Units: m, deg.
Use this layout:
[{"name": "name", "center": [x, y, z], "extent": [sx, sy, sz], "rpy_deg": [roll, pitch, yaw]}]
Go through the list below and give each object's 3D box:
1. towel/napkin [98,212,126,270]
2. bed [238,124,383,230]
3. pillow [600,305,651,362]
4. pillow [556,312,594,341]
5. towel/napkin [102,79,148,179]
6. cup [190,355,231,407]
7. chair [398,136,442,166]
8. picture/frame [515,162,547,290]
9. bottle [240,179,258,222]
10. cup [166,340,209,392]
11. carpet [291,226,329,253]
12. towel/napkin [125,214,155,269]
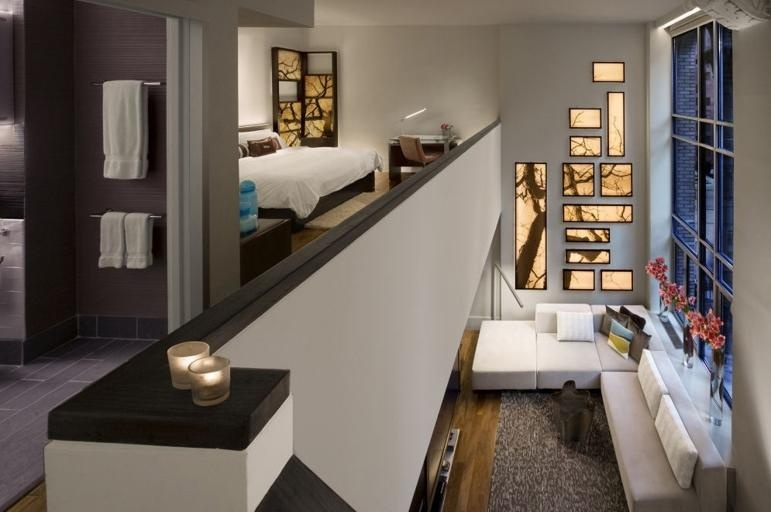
[{"name": "towel/napkin", "center": [-2.399, -0.142, 4.866], "extent": [0.201, 0.480, 0.256], "rpy_deg": [2, 6, -28]}, {"name": "bed", "center": [-1.052, -1.004, 7.256], "extent": [1.557, 0.997, 2.624], "rpy_deg": [5, 7, -2]}, {"name": "pillow", "center": [4.048, 1.349, 9.346], "extent": [0.147, 0.373, 0.672], "rpy_deg": [18, 13, -18]}, {"name": "pillow", "center": [3.346, 1.249, 9.721], "extent": [0.448, 0.442, 0.163], "rpy_deg": [0, -3, 4]}, {"name": "towel/napkin", "center": [-2.273, -1.083, 4.827], "extent": [0.349, 0.872, 0.153], "rpy_deg": [1, 4, 1]}, {"name": "cup", "center": [-0.322, 0.229, 1.036], "extent": [0.068, 0.067, 0.083], "rpy_deg": [-1, 7, -6]}, {"name": "chair", "center": [0.596, -1.837, 9.656], "extent": [0.636, 0.481, 1.225], "rpy_deg": [6, 7, 6]}, {"name": "picture/frame", "center": [2.789, -0.544, 10.557], "extent": [0.754, 2.424, 0.375], "rpy_deg": [6, 5, 16]}, {"name": "bottle", "center": [-1.143, -0.482, 4.607], "extent": [0.140, 0.292, 0.346], "rpy_deg": [3, 7, -16]}, {"name": "cup", "center": [-0.387, 0.214, 1.100], "extent": [0.074, 0.079, 0.085], "rpy_deg": [0, 14, -9]}, {"name": "carpet", "center": [-0.875, -0.212, 6.063], "extent": [0.317, 0.199, 0.642], "rpy_deg": [7, 7, 11]}, {"name": "towel/napkin", "center": [-2.172, -0.140, 4.862], "extent": [0.258, 0.467, 0.160], "rpy_deg": [8, 6, 28]}]
